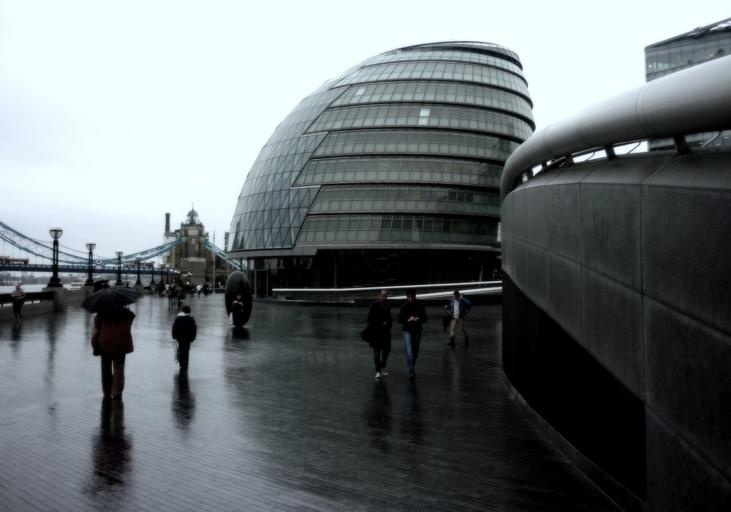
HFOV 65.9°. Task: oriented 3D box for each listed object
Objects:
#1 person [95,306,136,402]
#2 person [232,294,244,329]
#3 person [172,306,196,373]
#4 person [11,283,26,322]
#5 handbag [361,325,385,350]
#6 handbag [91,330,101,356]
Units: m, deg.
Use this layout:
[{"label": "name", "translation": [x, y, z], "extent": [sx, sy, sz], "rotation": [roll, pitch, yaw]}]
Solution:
[{"label": "person", "translation": [-4.731, 1.783, 10.571], "extent": [0.705, 1.674, 0.698], "rotation": [0, -2, -26]}, {"label": "person", "translation": [-5.406, 2.353, 23.778], "extent": [0.467, 1.250, 0.624], "rotation": [-1, -2, -16]}, {"label": "person", "translation": [-4.283, 1.919, 13.284], "extent": [0.482, 1.531, 0.772], "rotation": [-1, -2, -19]}, {"label": "person", "translation": [-15.806, 2.043, 25.587], "extent": [0.385, 1.586, 1.878], "rotation": [0, -2, -31]}, {"label": "handbag", "translation": [0.154, 1.809, 12.739], "extent": [0.388, 0.538, 0.465], "rotation": [4, 8, -6]}, {"label": "handbag", "translation": [-4.979, 1.616, 10.421], "extent": [0.121, 0.439, 0.318], "rotation": [0, -2, -36]}]
